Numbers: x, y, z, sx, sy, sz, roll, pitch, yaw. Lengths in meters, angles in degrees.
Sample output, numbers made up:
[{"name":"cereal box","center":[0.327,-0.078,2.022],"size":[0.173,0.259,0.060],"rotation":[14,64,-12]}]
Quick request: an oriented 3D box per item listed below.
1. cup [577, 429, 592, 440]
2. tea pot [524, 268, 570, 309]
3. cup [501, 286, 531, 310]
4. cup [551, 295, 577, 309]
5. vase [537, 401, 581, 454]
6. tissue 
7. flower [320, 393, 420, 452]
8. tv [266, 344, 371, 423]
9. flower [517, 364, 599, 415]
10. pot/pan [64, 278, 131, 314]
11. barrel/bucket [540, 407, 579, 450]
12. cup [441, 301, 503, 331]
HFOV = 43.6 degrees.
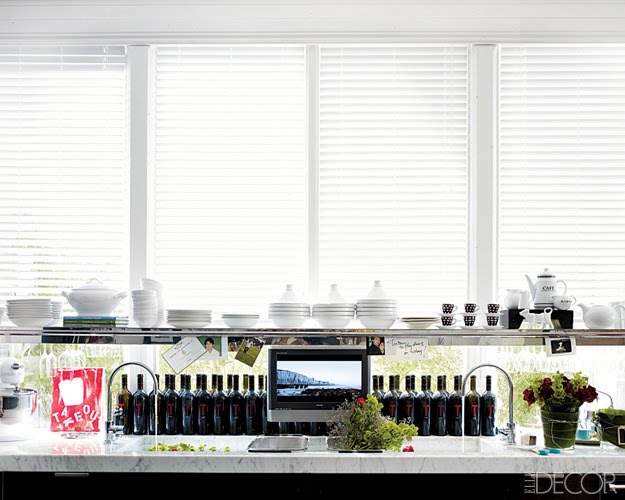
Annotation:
[{"name":"cup","center":[1.632,1.115,4.648],"size":[0.067,0.043,0.064],"rotation":[0,-6,0]},{"name":"tea pot","center":[1.451,0.253,4.800],"size":[0.270,0.239,0.168],"rotation":[-1,3,7]},{"name":"cup","center":[1.250,0.314,4.762],"size":[0.106,0.101,0.157],"rotation":[-6,-12,38]},{"name":"cup","center":[1.544,0.329,4.738],"size":[0.117,0.070,0.084],"rotation":[3,-5,4]},{"name":"vase","center":[1.446,1.052,4.557],"size":[0.253,0.223,0.226],"rotation":[1,-10,3]},{"name":"tissue ","center":[-1.489,0.963,4.904],"size":[0.305,0.404,0.110],"rotation":[0,-1,-15]},{"name":"flower","center":[0.347,1.020,4.529],"size":[0.504,0.296,0.216],"rotation":[0,-1,1]},{"name":"tv","center":[0.037,0.846,4.803],"size":[0.554,0.352,0.070],"rotation":[1,-7,-1]},{"name":"flower","center":[1.476,0.877,4.671],"size":[0.471,0.287,0.464],"rotation":[-3,-15,28]},{"name":"pot/pan","center":[-1.366,0.312,4.878],"size":[0.431,0.233,0.332],"rotation":[1,-3,-15]},{"name":"barrel/bucket","center":[1.425,1.039,4.471],"size":[0.226,0.178,0.230],"rotation":[1,-12,0]},{"name":"cup","center":[0.986,0.413,4.815],"size":[0.373,0.144,0.228],"rotation":[-1,-1,11]}]
